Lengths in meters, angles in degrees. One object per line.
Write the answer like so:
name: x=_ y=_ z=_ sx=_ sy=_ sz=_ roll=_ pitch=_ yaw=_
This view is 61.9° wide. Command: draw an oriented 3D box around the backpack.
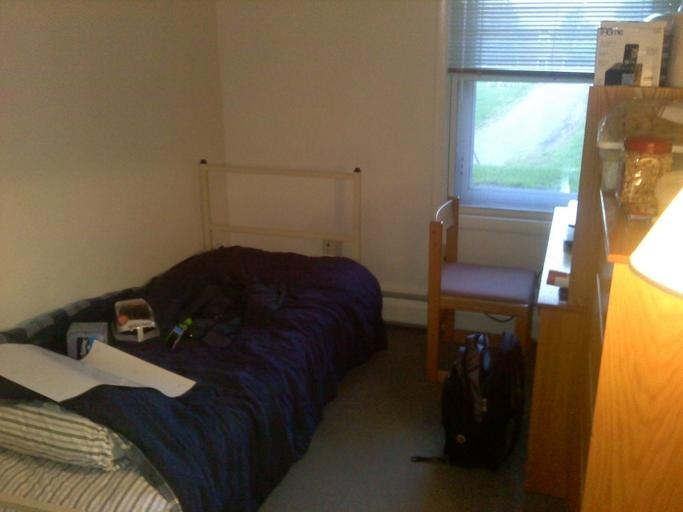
backpack: x=0.665 y=0.552 z=2.804 sx=0.448 sy=0.847 sz=0.562 roll=4 pitch=7 yaw=24

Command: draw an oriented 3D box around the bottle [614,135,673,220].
bottle: x=0.838 y=-0.220 z=1.570 sx=0.130 sy=0.205 sz=0.144 roll=-5 pitch=19 yaw=-25

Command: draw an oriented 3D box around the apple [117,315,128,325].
apple: x=-1.013 y=0.295 z=2.642 sx=0.040 sy=0.043 sz=0.022 roll=-31 pitch=-1 yaw=-3

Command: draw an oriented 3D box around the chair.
chair: x=0.777 y=0.177 z=3.123 sx=0.598 sy=0.927 sz=0.597 roll=2 pitch=17 yaw=10

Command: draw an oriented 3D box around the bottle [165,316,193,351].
bottle: x=-0.745 y=0.352 z=2.629 sx=0.054 sy=0.059 sz=0.173 roll=11 pitch=34 yaw=16
